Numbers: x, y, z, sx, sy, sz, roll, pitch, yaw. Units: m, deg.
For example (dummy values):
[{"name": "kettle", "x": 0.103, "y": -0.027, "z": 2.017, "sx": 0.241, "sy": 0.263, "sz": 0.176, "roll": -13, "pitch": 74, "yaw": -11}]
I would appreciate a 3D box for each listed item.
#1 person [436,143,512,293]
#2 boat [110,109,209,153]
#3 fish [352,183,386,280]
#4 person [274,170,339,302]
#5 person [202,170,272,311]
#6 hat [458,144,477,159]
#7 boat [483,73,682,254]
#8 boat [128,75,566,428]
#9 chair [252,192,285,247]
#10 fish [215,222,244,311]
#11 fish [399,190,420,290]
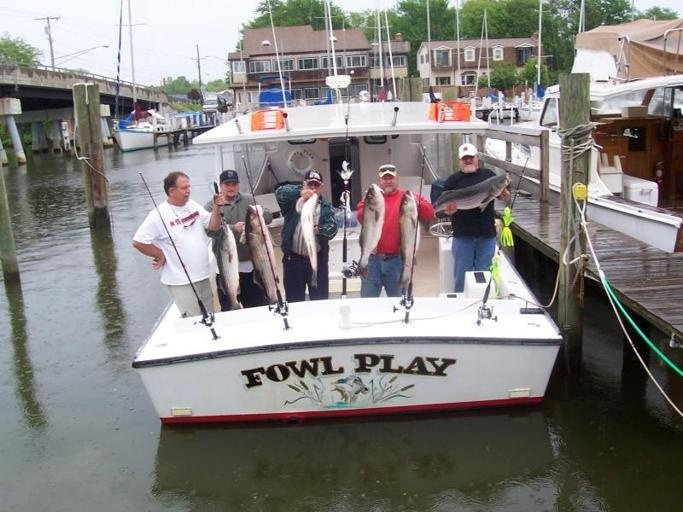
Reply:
[{"name": "person", "x": 1.476, "y": -0.244, "z": 7.459, "sx": 0.769, "sy": 2.020, "sz": 0.621, "roll": 0, "pitch": 14, "yaw": 17}, {"name": "boat", "x": -12.365, "y": -8.418, "z": 45.061, "sx": 2.773, "sy": 2.379, "sz": 13.133, "roll": -1, "pitch": 15, "yaw": 6}, {"name": "fish", "x": 0.320, "y": -0.208, "z": 6.864, "sx": 0.333, "sy": 1.044, "sz": 0.189, "roll": 14, "pitch": 16, "yaw": 26}, {"name": "person", "x": -0.378, "y": -0.016, "z": 7.019, "sx": 0.611, "sy": 1.636, "sz": 0.521, "roll": 0, "pitch": 11, "yaw": -11}, {"name": "person", "x": -1.165, "y": -0.192, "z": 7.165, "sx": 0.561, "sy": 1.628, "sz": 0.694, "roll": -4, "pitch": -1, "yaw": -17}, {"name": "hat", "x": 1.408, "y": -1.165, "z": 7.340, "sx": 0.142, "sy": 0.138, "sz": 0.221, "roll": -11, "pitch": 5, "yaw": 15}, {"name": "boat", "x": 4.047, "y": -1.851, "z": 10.462, "sx": 1.747, "sy": 2.018, "sz": 5.019, "roll": -10, "pitch": 22, "yaw": -17}, {"name": "boat", "x": 0.008, "y": -0.423, "z": 7.923, "sx": 4.099, "sy": 3.298, "sz": 4.103, "roll": -5, "pitch": 16, "yaw": 1}, {"name": "chair", "x": -0.988, "y": -0.619, "z": 9.520, "sx": 0.634, "sy": 0.772, "sz": 0.701, "roll": -6, "pitch": 17, "yaw": -13}, {"name": "fish", "x": -1.144, "y": 0.088, "z": 6.753, "sx": 0.240, "sy": 0.927, "sz": 0.179, "roll": -7, "pitch": 5, "yaw": -1}, {"name": "fish", "x": 0.764, "y": -0.158, "z": 6.820, "sx": 0.177, "sy": 1.106, "sz": 0.361, "roll": 4, "pitch": -5, "yaw": -38}]
